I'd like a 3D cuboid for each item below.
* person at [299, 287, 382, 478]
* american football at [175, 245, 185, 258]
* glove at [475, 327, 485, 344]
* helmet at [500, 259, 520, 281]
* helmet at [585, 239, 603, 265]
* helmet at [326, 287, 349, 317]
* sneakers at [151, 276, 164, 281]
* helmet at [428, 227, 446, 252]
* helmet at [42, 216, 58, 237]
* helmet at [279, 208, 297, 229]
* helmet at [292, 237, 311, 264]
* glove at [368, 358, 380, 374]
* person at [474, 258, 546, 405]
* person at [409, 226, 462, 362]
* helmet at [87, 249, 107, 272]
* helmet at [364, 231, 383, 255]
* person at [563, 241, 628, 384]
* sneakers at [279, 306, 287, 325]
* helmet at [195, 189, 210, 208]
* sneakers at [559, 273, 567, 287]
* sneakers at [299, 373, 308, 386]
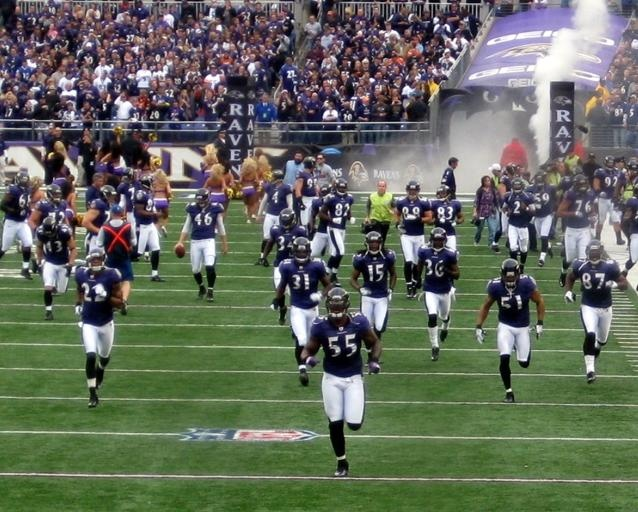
[{"bbox_3d":[0.300,1.852,21.058,1.104,2.751,0.829,1,14,2],"label":"person"},{"bbox_3d":[-2.826,-0.104,29.228,0.170,0.166,0.201,-30,-30,-10],"label":"american football"},{"bbox_3d":[2.782,1.405,25.318,0.154,0.199,0.481,-38,-9,15],"label":"glove"},{"bbox_3d":[3.101,0.231,23.765,0.278,0.326,0.370,0,9,5],"label":"helmet"},{"bbox_3d":[4.706,-0.086,24.837,0.282,0.359,0.363,-2,9,11],"label":"helmet"},{"bbox_3d":[0.257,0.655,21.023,0.302,0.409,0.373,-1,14,-6],"label":"helmet"},{"bbox_3d":[-3.586,0.487,32.009,0.314,0.130,0.097,1,40,-6],"label":"sneakers"},{"bbox_3d":[2.080,-0.325,25.942,0.280,0.308,0.378,0,9,7],"label":"helmet"},{"bbox_3d":[-5.091,-0.597,27.472,0.275,0.364,0.300,-2,-32,0],"label":"helmet"},{"bbox_3d":[-0.609,-0.741,27.076,0.256,0.326,0.646,1,14,2],"label":"helmet"},{"bbox_3d":[-0.314,-0.110,24.517,0.298,0.427,0.378,0,14,-2],"label":"helmet"},{"bbox_3d":[0.786,1.601,20.861,0.193,0.211,0.085,0,-18,21],"label":"glove"},{"bbox_3d":[3.167,1.217,24.076,0.975,2.381,0.945,-7,16,-28],"label":"person"},{"bbox_3d":[2.092,0.740,26.012,0.632,2.431,0.740,-3,14,-11],"label":"person"},{"bbox_3d":[-3.623,0.056,23.631,0.283,0.355,0.369,1,25,-1],"label":"helmet"},{"bbox_3d":[0.937,-0.265,25.281,0.270,0.361,0.458,0,14,0],"label":"helmet"},{"bbox_3d":[4.691,0.977,24.892,0.975,2.398,0.973,5,15,18],"label":"person"},{"bbox_3d":[-0.683,1.093,26.555,0.125,0.366,0.159,6,-1,1],"label":"sneakers"},{"bbox_3d":[-2.351,-1.193,29.190,0.257,0.327,0.339,0,27,-3],"label":"helmet"},{"bbox_3d":[5.161,0.491,30.878,0.112,0.320,0.240,2,-16,12],"label":"sneakers"},{"bbox_3d":[-0.270,2.069,24.350,0.182,0.198,0.200,-2,-27,2],"label":"sneakers"}]
